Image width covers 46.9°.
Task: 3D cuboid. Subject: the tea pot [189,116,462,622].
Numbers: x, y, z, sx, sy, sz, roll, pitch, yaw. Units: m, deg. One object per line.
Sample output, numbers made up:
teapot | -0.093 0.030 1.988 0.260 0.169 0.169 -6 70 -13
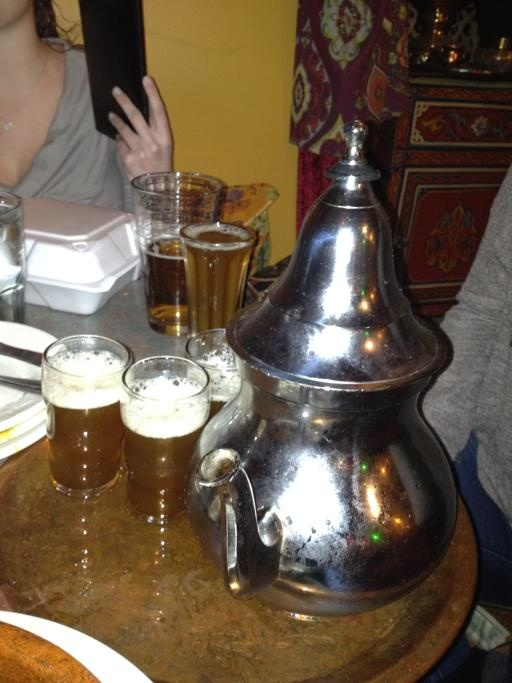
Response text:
tea pot | 0.052 0.028 0.349 0.173 0.273 0.156 0 33 -7
